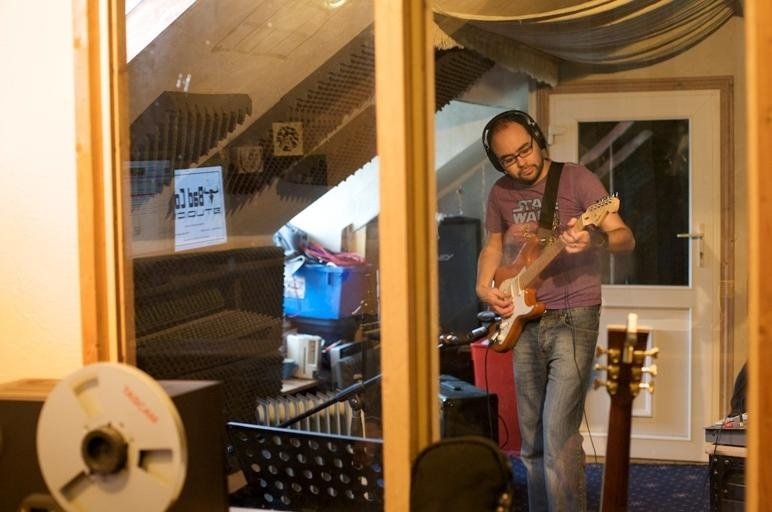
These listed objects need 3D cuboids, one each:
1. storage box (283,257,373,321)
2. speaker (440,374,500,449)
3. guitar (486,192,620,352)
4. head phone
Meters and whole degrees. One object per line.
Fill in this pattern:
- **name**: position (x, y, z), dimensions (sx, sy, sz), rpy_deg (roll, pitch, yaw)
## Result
- **storage box**: position (-0.192, 0.104, 2.440), dimensions (0.243, 0.161, 0.178), rpy_deg (1, 3, 36)
- **speaker**: position (0.247, 0.469, 2.455), dimensions (0.178, 0.209, 0.297), rpy_deg (-2, 2, -16)
- **guitar**: position (0.533, 0.037, 2.312), dimensions (0.064, 0.188, 0.473), rpy_deg (14, -50, -40)
- **head phone**: position (0.406, -0.363, 2.325), dimensions (0.141, 0.133, 0.057), rpy_deg (-27, 11, 26)
